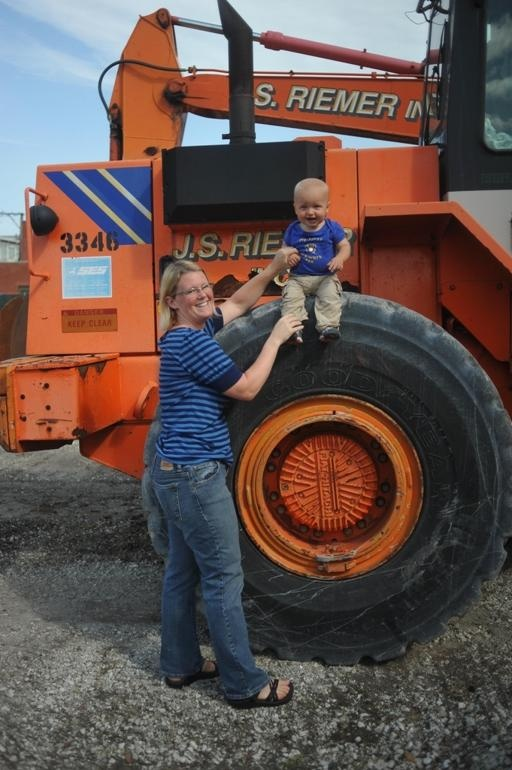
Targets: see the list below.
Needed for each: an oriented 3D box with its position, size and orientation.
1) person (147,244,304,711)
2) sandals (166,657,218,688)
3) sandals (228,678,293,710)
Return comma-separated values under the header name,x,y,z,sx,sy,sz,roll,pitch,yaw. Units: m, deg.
name,x,y,z,sx,sy,sz,roll,pitch,yaw
person,-0.119,0.332,2.642,0.587,1.684,0.480,-1,6,6
sandals,-0.239,1.146,2.766,0.079,0.087,0.236,7,10,41
sandals,0.025,1.117,2.548,0.205,0.061,0.105,-6,-3,-3
